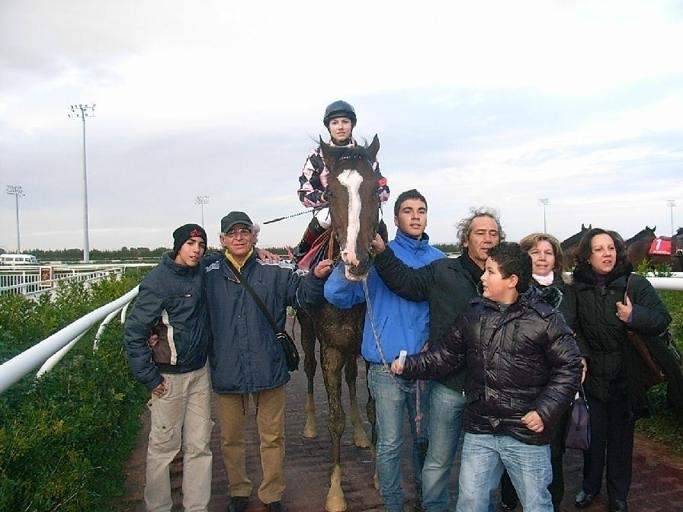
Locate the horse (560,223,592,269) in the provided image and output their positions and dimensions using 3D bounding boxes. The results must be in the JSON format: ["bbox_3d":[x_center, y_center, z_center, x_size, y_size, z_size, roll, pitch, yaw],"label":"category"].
[{"bbox_3d":[7.694,-0.433,15.713,0.802,1.132,1.654,6,8,26],"label":"horse"}]

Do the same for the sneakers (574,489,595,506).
[{"bbox_3d":[1.901,1.897,3.865,0.085,0.077,0.182,-15,-13,35],"label":"sneakers"}]

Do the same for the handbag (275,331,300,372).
[{"bbox_3d":[-0.429,0.781,4.147,0.115,0.318,0.216,-16,21,-23],"label":"handbag"}]
